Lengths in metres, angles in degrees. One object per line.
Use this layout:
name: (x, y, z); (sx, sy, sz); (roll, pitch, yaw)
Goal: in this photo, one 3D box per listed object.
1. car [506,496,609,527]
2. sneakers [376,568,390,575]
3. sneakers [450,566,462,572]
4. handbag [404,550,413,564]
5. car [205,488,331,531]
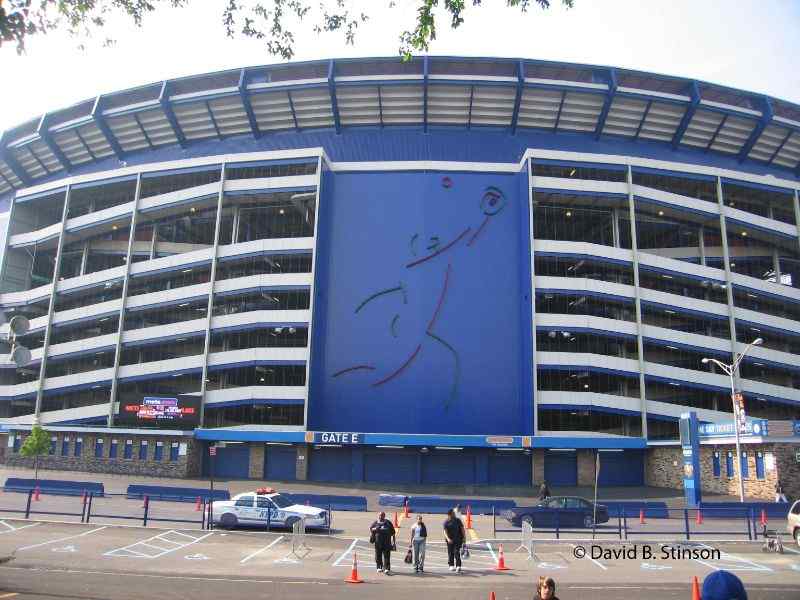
car: (9.145, 12.482, 41.444); (6.163, 1.491, 2.374); (1, -12, 1)
sneakers: (-0.773, 12.618, 33.552); (0.600, 0.205, 0.182); (1, -16, 15)
sneakers: (2.559, 12.563, 33.753); (0.617, 0.232, 0.186); (-1, -12, 0)
handbag: (0.394, 12.268, 34.614); (0.480, 0.697, 0.284); (4, 12, -4)
car: (-7.060, 11.644, 40.374); (6.355, 1.588, 2.431); (-1, -12, 3)
